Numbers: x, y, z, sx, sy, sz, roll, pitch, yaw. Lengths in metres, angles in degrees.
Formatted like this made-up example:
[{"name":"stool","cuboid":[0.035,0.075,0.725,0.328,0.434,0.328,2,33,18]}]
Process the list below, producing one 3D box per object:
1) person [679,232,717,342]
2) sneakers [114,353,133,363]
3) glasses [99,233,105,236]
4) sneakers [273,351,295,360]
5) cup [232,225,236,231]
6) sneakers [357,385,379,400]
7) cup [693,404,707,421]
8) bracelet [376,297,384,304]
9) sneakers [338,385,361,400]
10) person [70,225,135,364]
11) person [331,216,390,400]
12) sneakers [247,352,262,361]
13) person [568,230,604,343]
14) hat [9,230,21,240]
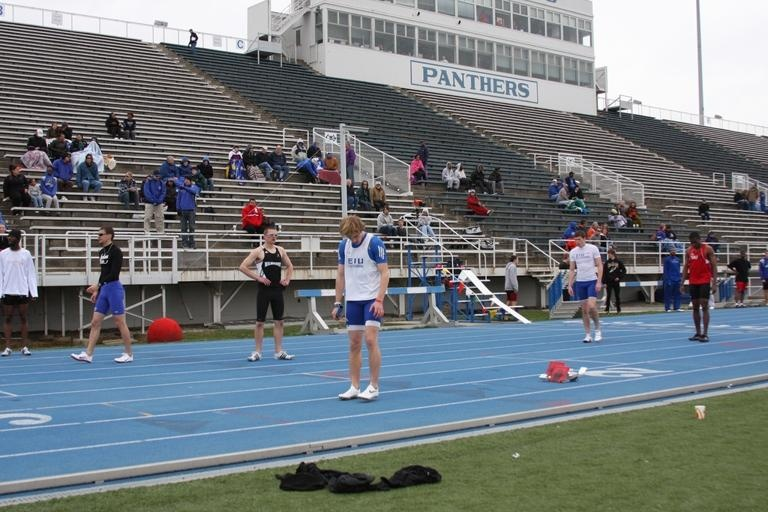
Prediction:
[{"name":"person","cuboid":[7.071,0.732,22.605,0.707,2.447,0.462,10,15,32]},{"name":"sneakers","cuboid":[-5.380,2.117,20.849,0.451,0.190,0.157,0,0,-7]},{"name":"glasses","cuboid":[-5.635,-0.399,20.186,0.065,0.063,0.021,-3,0,10]},{"name":"sneakers","cuboid":[-2.054,2.069,21.016,0.460,0.199,0.150,2,-1,-1]},{"name":"cup","cuboid":[-4.327,-0.788,29.247,0.133,0.127,0.143,0,37,0]},{"name":"sneakers","cuboid":[-0.208,2.369,17.377,0.171,0.173,0.420,-3,-8,24]},{"name":"cup","cuboid":[5.212,2.550,16.461,0.200,0.188,0.192,0,-7,0]},{"name":"bracelet","cuboid":[-0.078,0.737,16.971,0.115,0.080,0.238,-1,12,-11]},{"name":"sneakers","cuboid":[-0.657,2.380,17.509,0.500,0.202,0.167,-4,-3,23]},{"name":"person","cuboid":[-5.725,0.852,20.627,1.106,2.909,1.243,-2,13,-16]},{"name":"person","cuboid":[-0.387,0.913,17.209,0.894,3.135,0.607,3,13,6]},{"name":"sneakers","cuboid":[-2.630,2.082,20.763,0.126,0.136,0.334,-4,-11,16]},{"name":"person","cuboid":[4.608,0.690,22.735,0.808,2.435,0.670,-6,-4,38]},{"name":"hat","cuboid":[-7.855,-0.423,21.450,0.241,0.223,0.384,-3,13,-19]}]
